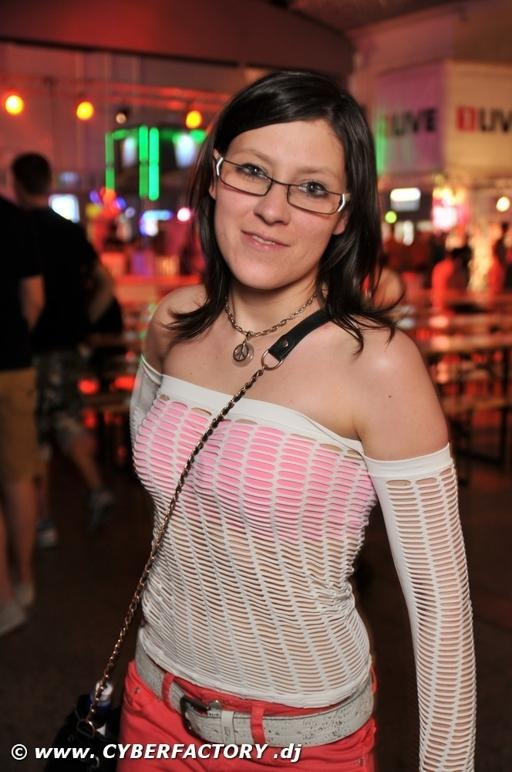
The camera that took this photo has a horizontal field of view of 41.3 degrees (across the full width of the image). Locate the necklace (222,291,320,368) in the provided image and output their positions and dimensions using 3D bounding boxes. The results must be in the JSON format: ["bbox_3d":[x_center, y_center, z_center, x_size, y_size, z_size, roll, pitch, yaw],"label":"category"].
[{"bbox_3d":[0.014,-0.083,1.050,0.103,0.125,0.009,15,-21,42],"label":"necklace"}]

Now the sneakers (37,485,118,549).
[{"bbox_3d":[-0.744,0.559,3.030,0.133,0.171,0.412,-21,-13,-30],"label":"sneakers"}]
